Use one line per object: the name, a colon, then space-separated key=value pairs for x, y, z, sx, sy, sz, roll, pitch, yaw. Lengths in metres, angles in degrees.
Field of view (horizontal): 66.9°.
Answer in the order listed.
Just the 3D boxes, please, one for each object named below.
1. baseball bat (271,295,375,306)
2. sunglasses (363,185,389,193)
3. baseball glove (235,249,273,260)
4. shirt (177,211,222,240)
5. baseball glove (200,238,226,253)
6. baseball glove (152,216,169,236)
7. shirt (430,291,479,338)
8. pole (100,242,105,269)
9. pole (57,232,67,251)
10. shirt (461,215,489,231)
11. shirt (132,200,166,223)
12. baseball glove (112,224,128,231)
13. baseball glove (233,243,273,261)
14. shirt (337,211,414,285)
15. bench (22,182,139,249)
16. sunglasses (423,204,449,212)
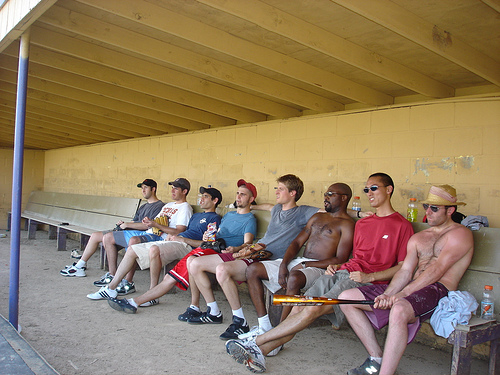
baseball bat: x=0.620 y=0.918 z=3.083 sx=0.931 sy=0.107 sz=0.112 roll=3 pitch=-18 yaw=-5
sunglasses: x=1.244 y=0.015 z=3.716 sx=0.227 sy=0.074 sz=0.095 roll=3 pitch=-1 yaw=15
baseball glove: x=0.088 y=0.739 z=4.149 sx=0.270 sy=0.062 sz=0.150 roll=-2 pitch=-11 yaw=-17
shirt: x=-0.711 y=0.536 z=5.185 sx=0.545 sy=0.450 sz=0.313 roll=17 pitch=-1 yaw=36
baseball glove: x=-0.431 y=0.677 z=4.423 sx=0.196 sy=0.077 sz=0.189 roll=-3 pitch=-3 yaw=19
baseball glove: x=-1.236 y=0.542 z=5.314 sx=0.114 sy=0.243 sz=0.253 roll=0 pitch=2 yaw=-38
shirt: x=1.663 y=1.040 z=3.093 sx=0.292 sy=0.407 sz=0.147 roll=38 pitch=-22 yaw=41
pole: x=-2.436 y=1.134 z=6.229 sx=0.054 sy=0.440 sz=0.307 roll=4 pitch=-1 yaw=-26
pole: x=-3.873 y=1.108 z=7.758 sx=0.157 sy=0.393 sz=0.282 roll=4 pitch=-1 yaw=-29
shirt: x=2.126 y=0.327 z=3.553 sx=0.174 sy=0.070 sz=0.165 roll=-22 pitch=31 yaw=-20
shirt: x=-1.566 y=0.376 z=5.839 sx=0.187 sy=0.299 sz=0.331 roll=35 pitch=-18 yaw=-31
baseball glove: x=-1.915 y=0.595 z=5.553 sx=0.149 sy=0.085 sz=0.060 roll=-12 pitch=-24 yaw=-27
baseball glove: x=0.032 y=0.709 z=4.177 sx=0.284 sy=0.115 sz=0.205 roll=3 pitch=-2 yaw=-18
shirt: x=1.226 y=0.571 z=3.631 sx=0.484 sy=0.668 sz=0.707 roll=7 pitch=-1 yaw=-41
bench: x=-4.055 y=0.729 z=8.465 sx=4.211 sy=0.963 sz=0.860 roll=3 pitch=16 yaw=31
sunglasses: x=1.663 y=0.189 z=3.487 sx=0.126 sy=0.062 sz=0.316 roll=3 pitch=-2 yaw=5
